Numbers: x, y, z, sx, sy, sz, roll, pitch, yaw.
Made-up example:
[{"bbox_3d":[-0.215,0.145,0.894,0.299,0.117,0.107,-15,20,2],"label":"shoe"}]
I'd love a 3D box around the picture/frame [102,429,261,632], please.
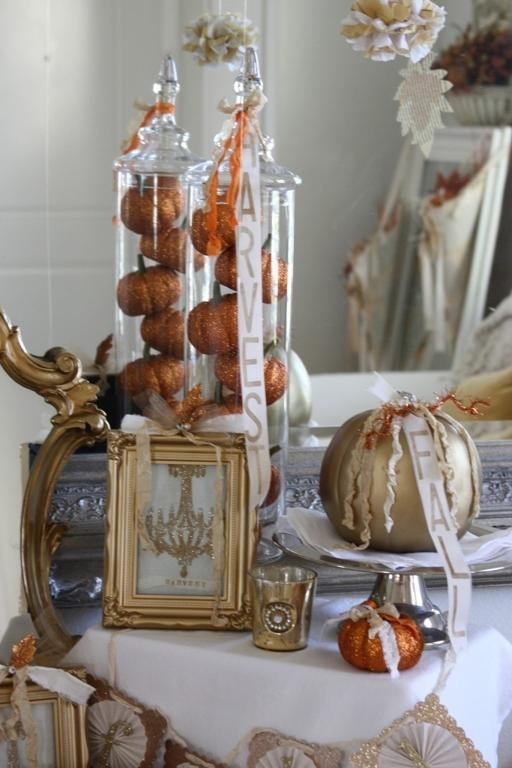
[{"bbox_3d":[-0.066,0.132,0.768,0.203,0.213,0.032,0,-5,-6],"label":"picture/frame"}]

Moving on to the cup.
[{"bbox_3d":[0.022,0.183,0.721,0.069,0.063,0.062,2,-5,-5],"label":"cup"}]

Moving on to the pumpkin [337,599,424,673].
[{"bbox_3d":[0.094,0.193,0.683,0.058,0.037,0.050,-1,1,-15],"label":"pumpkin"}]
